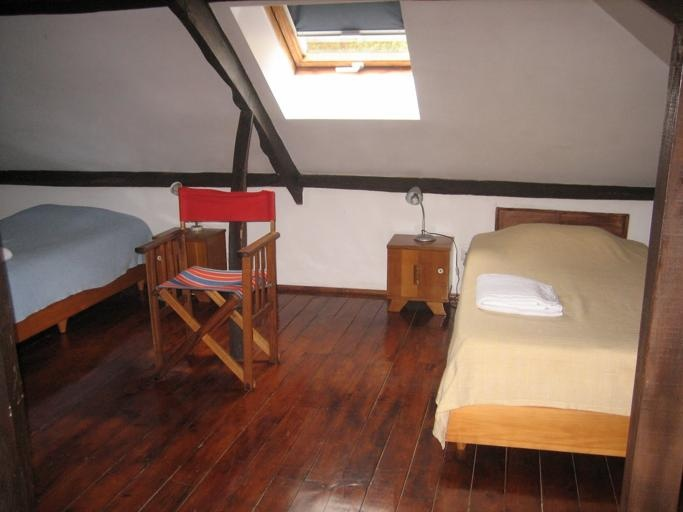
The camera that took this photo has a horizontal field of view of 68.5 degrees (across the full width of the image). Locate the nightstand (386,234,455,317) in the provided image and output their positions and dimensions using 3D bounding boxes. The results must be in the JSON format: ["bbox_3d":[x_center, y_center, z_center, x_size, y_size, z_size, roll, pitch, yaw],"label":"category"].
[{"bbox_3d":[0.676,0.057,4.438,0.636,0.841,0.574,3,14,15],"label":"nightstand"}]

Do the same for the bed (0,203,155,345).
[{"bbox_3d":[-2.015,0.160,3.861,0.758,0.366,0.792,16,24,29],"label":"bed"}]

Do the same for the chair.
[{"bbox_3d":[-0.791,0.121,3.538,0.813,1.218,1.035,0,12,9],"label":"chair"}]

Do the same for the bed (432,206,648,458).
[{"bbox_3d":[1.300,0.407,3.226,1.008,0.737,1.774,2,29,17],"label":"bed"}]

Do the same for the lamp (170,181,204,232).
[{"bbox_3d":[-1.201,-0.409,3.932,0.193,0.583,0.213,-5,-1,-9],"label":"lamp"}]
